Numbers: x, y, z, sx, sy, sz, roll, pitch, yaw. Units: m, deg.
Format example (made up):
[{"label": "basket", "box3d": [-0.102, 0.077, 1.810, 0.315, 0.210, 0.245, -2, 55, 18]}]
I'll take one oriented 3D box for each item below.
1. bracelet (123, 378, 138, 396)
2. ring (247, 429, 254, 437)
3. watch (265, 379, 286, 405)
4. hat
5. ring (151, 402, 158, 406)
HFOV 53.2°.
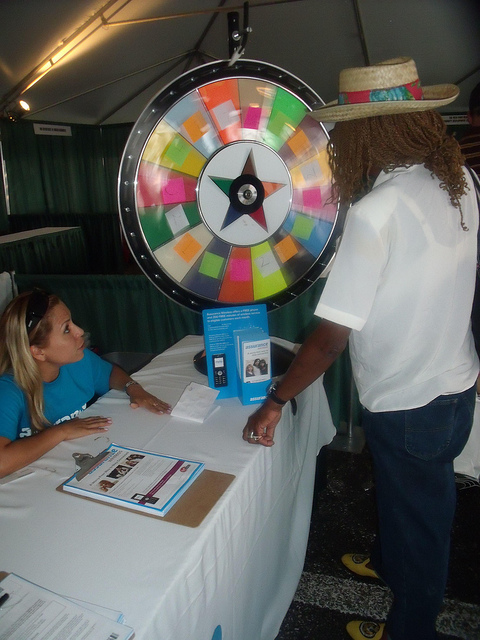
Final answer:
[{"label": "bracelet", "box3d": [-0.328, 0.200, 1.429, 0.033, 0.043, 0.047, 8, 43, -16]}, {"label": "ring", "box3d": [0.025, 0.280, 1.180, 0.010, 0.016, 0.012, 1, 34, 9]}, {"label": "watch", "box3d": [0.094, 0.185, 1.235, 0.019, 0.047, 0.054, -27, 37, 4]}, {"label": "hat", "box3d": [0.289, -0.461, 0.974, 0.232, 0.077, 0.200, -1, 29, 24]}, {"label": "ring", "box3d": [-0.239, 0.234, 1.336, 0.011, 0.002, 0.009, 5, 55, -29]}]
